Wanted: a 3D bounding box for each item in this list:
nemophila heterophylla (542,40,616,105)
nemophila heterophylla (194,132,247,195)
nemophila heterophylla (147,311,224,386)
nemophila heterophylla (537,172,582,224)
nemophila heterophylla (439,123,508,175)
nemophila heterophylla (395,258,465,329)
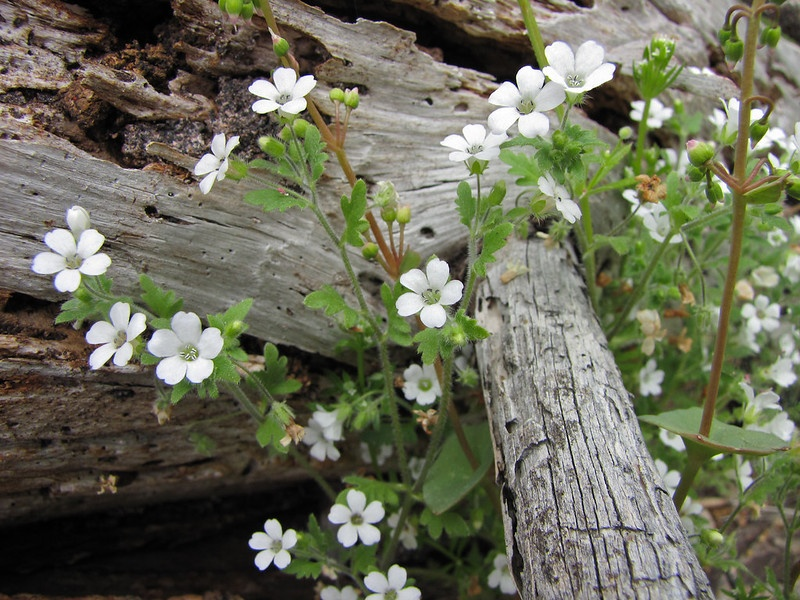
[{"bbox_3d":[0.685,-0.888,2.489,0.218,0.111,0.210,15,-10,-38],"label":"nemophila heterophylla"},{"bbox_3d":[-0.737,-0.514,2.576,0.076,0.251,0.252,26,51,-42],"label":"nemophila heterophylla"},{"bbox_3d":[-0.792,0.178,2.353,0.252,0.208,0.171,24,28,-11],"label":"nemophila heterophylla"},{"bbox_3d":[0.632,-0.406,2.560,0.210,0.125,0.211,32,28,4],"label":"nemophila heterophylla"},{"bbox_3d":[0.306,-0.602,2.620,0.249,0.247,0.110,59,-1,41],"label":"nemophila heterophylla"},{"bbox_3d":[0.112,-0.018,2.392,0.222,0.219,0.242,20,29,-17],"label":"nemophila heterophylla"}]
